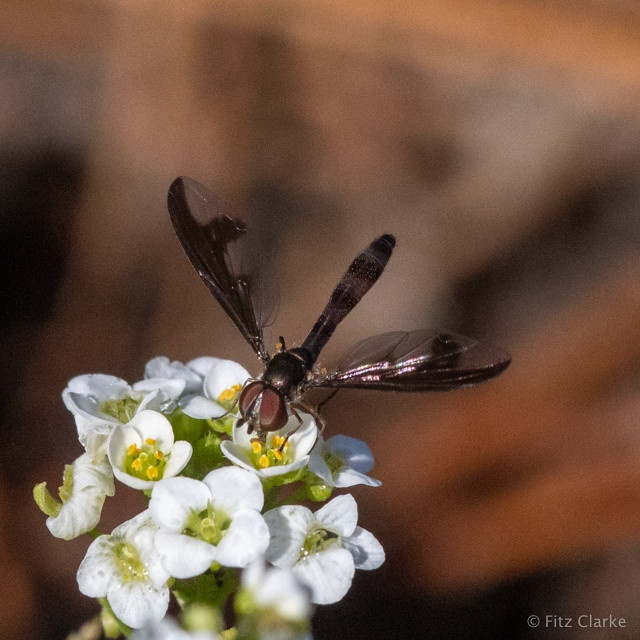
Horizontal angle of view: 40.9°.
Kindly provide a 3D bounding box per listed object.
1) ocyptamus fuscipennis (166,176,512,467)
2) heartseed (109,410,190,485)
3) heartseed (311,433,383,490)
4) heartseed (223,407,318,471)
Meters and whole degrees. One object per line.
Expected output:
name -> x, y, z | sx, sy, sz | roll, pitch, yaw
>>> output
ocyptamus fuscipennis -> 0.007, 0.003, 1.368 | 0.519, 0.358, 0.414 | 5, -10, 19
heartseed -> -0.208, 0.173, 1.082 | 0.106, 0.053, 0.092 | -4, 50, 10
heartseed -> 0.035, 0.186, 1.165 | 0.081, 0.041, 0.081 | 38, 32, 15
heartseed -> -0.064, 0.163, 1.114 | 0.130, 0.054, 0.101 | 7, 21, -15
